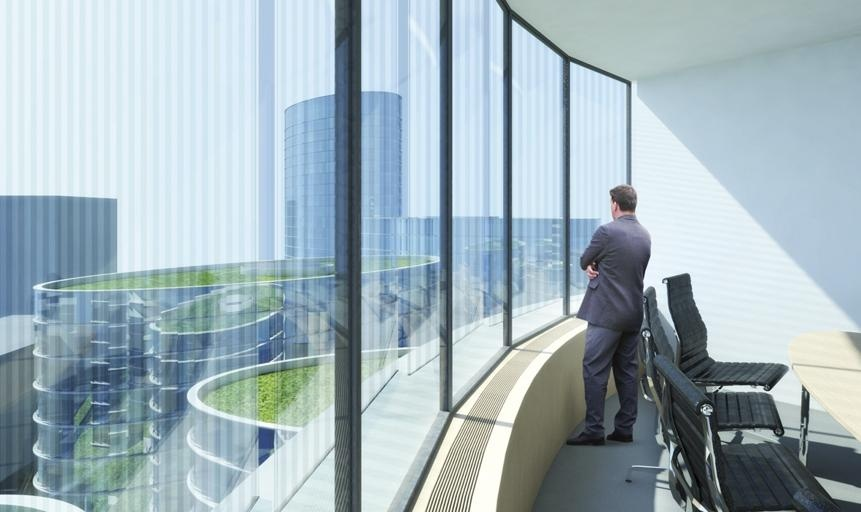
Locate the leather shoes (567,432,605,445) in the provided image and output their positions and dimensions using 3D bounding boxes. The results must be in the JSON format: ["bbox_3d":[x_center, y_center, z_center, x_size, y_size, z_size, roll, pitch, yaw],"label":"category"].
[{"bbox_3d":[1.081,1.274,4.310,0.273,0.109,0.102,1,-5,12],"label":"leather shoes"}]
